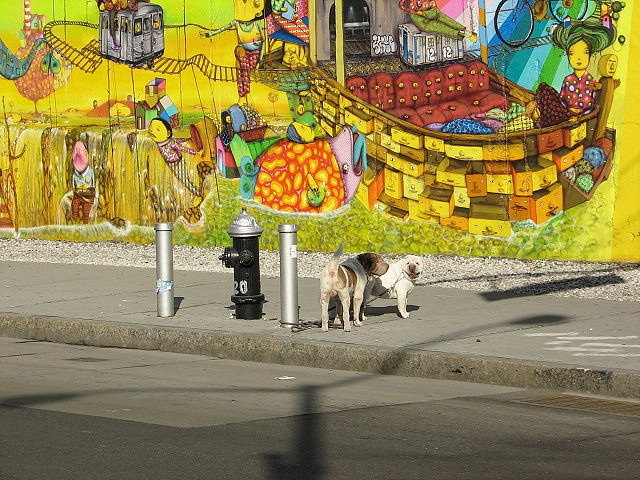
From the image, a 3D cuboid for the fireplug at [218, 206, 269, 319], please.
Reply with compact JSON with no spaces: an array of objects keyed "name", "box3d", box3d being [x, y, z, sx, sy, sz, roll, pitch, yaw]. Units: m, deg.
[{"name":"fireplug","box3d":[-0.863,0.279,12.380,0.488,1.223,0.358,-2,8,-4]}]
